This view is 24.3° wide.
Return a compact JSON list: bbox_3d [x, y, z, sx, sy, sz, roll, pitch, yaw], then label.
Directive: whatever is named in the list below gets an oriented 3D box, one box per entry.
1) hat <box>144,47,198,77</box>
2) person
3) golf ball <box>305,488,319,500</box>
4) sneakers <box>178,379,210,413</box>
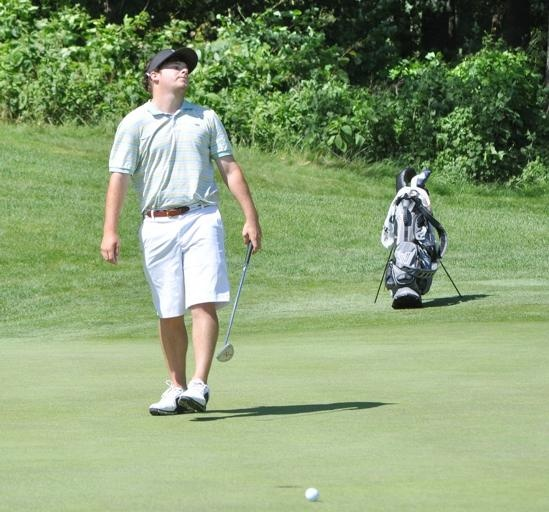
[{"bbox_3d":[-0.645,-1.258,8.016,0.267,0.152,0.182,-22,-16,38],"label":"hat"},{"bbox_3d":[-0.593,-0.181,7.868,0.746,2.234,0.840,3,6,36],"label":"person"},{"bbox_3d":[0.178,1.160,6.154,0.064,0.064,0.053,0,5,-3],"label":"golf ball"},{"bbox_3d":[-0.491,0.852,7.646,0.177,0.214,0.240,-1,5,-5],"label":"sneakers"}]
